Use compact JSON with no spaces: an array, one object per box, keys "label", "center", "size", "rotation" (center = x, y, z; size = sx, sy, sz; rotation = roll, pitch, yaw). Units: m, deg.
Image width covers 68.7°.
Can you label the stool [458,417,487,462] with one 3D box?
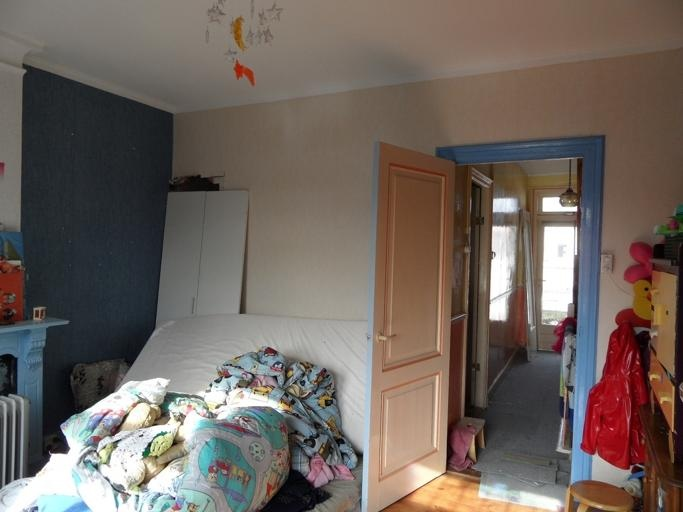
[{"label":"stool","center":[1.135,1.594,4.381],"size":[0.204,0.252,0.276],"rotation":[0,-1,33]}]

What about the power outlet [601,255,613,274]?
[{"label":"power outlet","center":[1.914,0.053,3.607],"size":[0.081,0.126,0.023],"rotation":[0,4,0]}]
